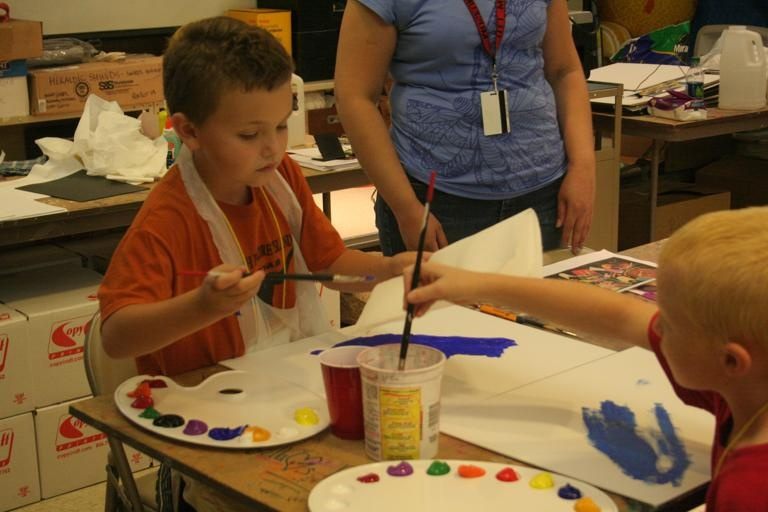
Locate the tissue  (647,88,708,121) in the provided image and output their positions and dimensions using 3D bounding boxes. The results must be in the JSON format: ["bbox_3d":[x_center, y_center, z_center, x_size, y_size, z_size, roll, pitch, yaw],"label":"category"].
[{"bbox_3d":[1.496,-0.753,3.277,0.274,0.103,0.170,3,24,21],"label":"tissue "}]

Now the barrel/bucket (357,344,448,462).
[{"bbox_3d":[0.014,0.278,1.196,0.178,0.195,0.180,0,5,0],"label":"barrel/bucket"}]

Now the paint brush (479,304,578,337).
[{"bbox_3d":[0.340,0.152,1.491,0.235,0.020,0.034,17,9,22],"label":"paint brush"}]

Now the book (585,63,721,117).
[{"bbox_3d":[1.496,-1.007,3.700,0.526,0.131,0.569,13,32,40],"label":"book"}]

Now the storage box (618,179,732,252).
[{"bbox_3d":[1.724,-0.273,3.826,0.512,0.322,0.515,10,18,43],"label":"storage box"}]

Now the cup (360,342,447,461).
[{"bbox_3d":[0.033,0.268,1.182,0.153,0.165,0.150,0,6,0],"label":"cup"}]

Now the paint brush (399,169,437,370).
[{"bbox_3d":[0.077,0.031,1.502,0.019,0.469,0.021,10,10,-19],"label":"paint brush"}]
